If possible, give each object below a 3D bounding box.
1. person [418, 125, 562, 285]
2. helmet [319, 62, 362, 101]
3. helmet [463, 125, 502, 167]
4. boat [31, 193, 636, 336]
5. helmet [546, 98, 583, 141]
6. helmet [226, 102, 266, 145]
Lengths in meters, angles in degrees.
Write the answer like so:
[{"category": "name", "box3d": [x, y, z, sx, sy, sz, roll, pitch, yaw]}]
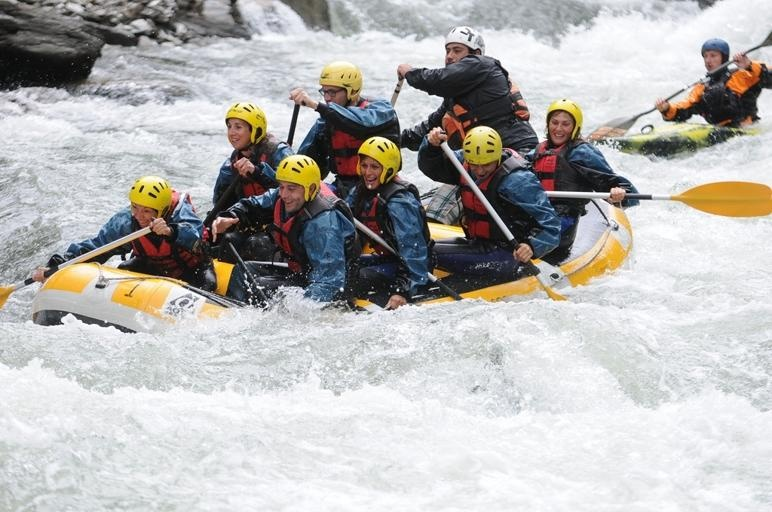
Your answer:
[{"category": "person", "box3d": [1.020, -0.442, 7.818, 1.099, 1.397, 1.105, -25, 47, -21]}, {"category": "helmet", "box3d": [-0.458, -1.820, 8.320, 0.482, 0.305, 0.391, -25, 33, -29]}, {"category": "helmet", "box3d": [0.904, -1.028, 7.522, 0.345, 0.297, 0.393, 7, 36, 13]}, {"category": "boat", "box3d": [-0.432, 0.220, 7.566, 4.285, 0.540, 1.902, -2, 9, -30]}, {"category": "helmet", "box3d": [1.864, -1.432, 8.442, 0.452, 0.373, 0.514, 2, -9, 19]}, {"category": "helmet", "box3d": [-1.353, -1.322, 7.938, 0.360, 0.376, 0.274, 11, 39, 6]}]
